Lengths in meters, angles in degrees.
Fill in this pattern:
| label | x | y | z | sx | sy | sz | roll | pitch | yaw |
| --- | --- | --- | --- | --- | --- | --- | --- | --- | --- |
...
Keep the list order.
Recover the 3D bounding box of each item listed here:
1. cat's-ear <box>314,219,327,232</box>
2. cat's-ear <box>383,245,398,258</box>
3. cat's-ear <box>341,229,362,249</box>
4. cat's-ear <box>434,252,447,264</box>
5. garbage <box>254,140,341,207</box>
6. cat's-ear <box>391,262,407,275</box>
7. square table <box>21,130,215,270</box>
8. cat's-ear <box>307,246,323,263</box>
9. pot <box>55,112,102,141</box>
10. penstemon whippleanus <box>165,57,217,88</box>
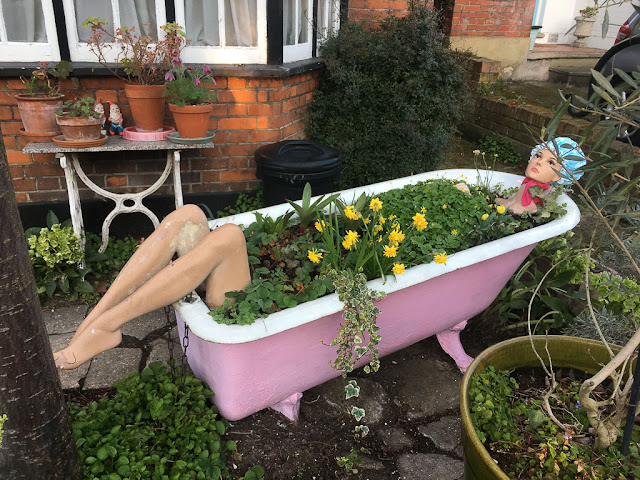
| label | x | y | z | sx | sy | sz | roll | pitch | yaw |
| --- | --- | --- | --- | --- | --- | --- | --- | --- | --- |
| cat's-ear | 0.011 | -0.080 | 2.489 | 0.032 | 0.065 | 0.064 | -15 | 26 | -42 |
| cat's-ear | 0.369 | 0.060 | 2.343 | 0.058 | 0.031 | 0.062 | -11 | 41 | 3 |
| cat's-ear | 0.162 | -0.003 | 2.383 | 0.092 | 0.095 | 0.041 | 35 | 9 | -12 |
| cat's-ear | 0.646 | 0.102 | 2.380 | 0.054 | 0.024 | 0.056 | -23 | 58 | -4 |
| garbage | -0.151 | -0.589 | 3.557 | 0.631 | 0.559 | 0.617 | -11 | 26 | -37 |
| cat's-ear | 0.397 | 0.144 | 2.272 | 0.056 | 0.056 | 0.024 | -29 | -6 | -9 |
| square table | -1.489 | -0.310 | 3.531 | 1.193 | 0.914 | 0.673 | -6 | 22 | -21 |
| cat's-ear | -0.035 | 0.075 | 2.385 | 0.073 | 0.079 | 0.078 | 1 | 14 | 27 |
| pot | -1.648 | -0.779 | 3.124 | 0.207 | 0.115 | 0.225 | 5 | 17 | -1 |
| penstemon whippleanus | -0.954 | -1.223 | 3.314 | 0.274 | 0.178 | 0.282 | 16 | 21 | 9 |
